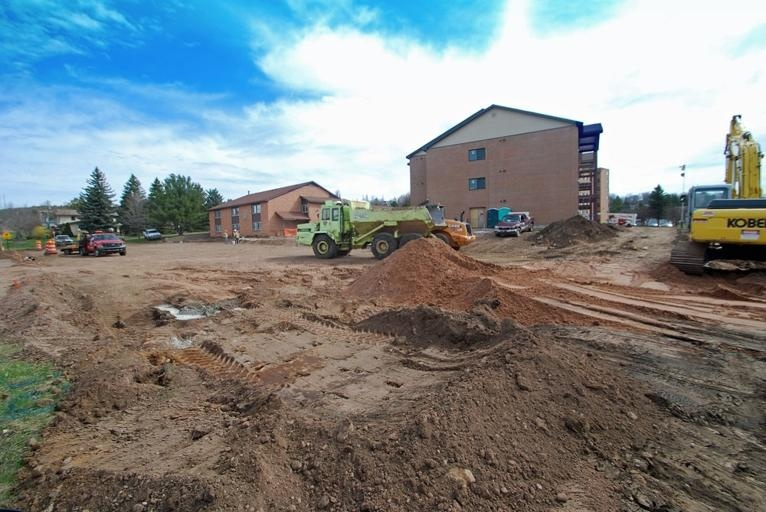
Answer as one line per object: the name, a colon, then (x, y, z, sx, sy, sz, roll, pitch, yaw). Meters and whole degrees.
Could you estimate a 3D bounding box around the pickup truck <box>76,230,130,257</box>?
pickup truck: (-16.006, -0.666, 23.941, 2.831, 1.025, 1.405, -2, -2, 34)

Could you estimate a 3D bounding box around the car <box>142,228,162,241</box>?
car: (-26.759, -2.491, 48.589, 1.610, 0.950, 3.213, -7, 15, -43)

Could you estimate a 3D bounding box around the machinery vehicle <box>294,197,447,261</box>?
machinery vehicle: (-0.597, -1.117, 18.947, 6.350, 2.060, 2.228, 1, 3, 17)

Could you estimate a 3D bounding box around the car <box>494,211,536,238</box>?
car: (8.562, -2.065, 27.801, 1.565, 1.007, 3.390, -1, 2, 29)
